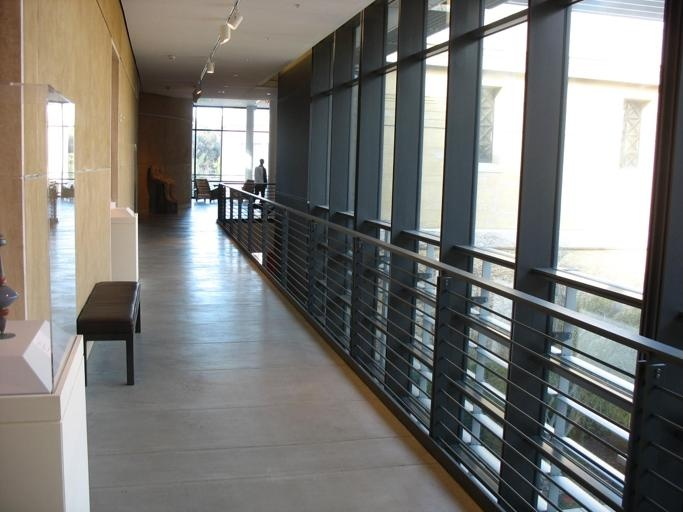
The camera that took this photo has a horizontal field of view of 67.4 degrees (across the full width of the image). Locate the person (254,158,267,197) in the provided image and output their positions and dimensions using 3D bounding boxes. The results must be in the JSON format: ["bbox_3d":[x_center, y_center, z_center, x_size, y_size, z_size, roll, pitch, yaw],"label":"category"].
[{"bbox_3d":[-2.438,-2.393,15.592,0.358,1.085,1.307,-1,10,-8],"label":"person"}]
